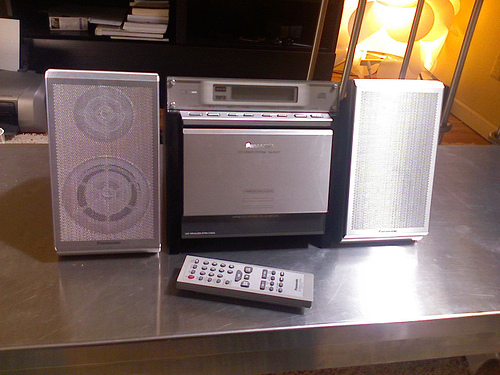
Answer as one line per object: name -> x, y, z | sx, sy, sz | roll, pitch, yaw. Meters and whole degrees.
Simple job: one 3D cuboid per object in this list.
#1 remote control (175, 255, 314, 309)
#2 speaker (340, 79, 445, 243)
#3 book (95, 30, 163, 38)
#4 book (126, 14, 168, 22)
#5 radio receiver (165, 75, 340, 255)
remote control -> -0.009, 0.143, 0.691 | 0.202, 0.023, 0.074 | 5, 39, 3
speaker -> 0.226, -0.037, 0.853 | 0.231, 0.281, 0.207 | 4, 4, 9
book -> -0.671, -0.851, 2.496 | 0.361, 0.025, 0.031 | 2, 23, -2
book -> -0.562, -0.930, 2.475 | 0.207, 0.036, 0.047 | -5, 24, -19
radio receiver -> -0.005, -0.042, 0.738 | 0.326, 0.262, 0.154 | -1, 25, -5
